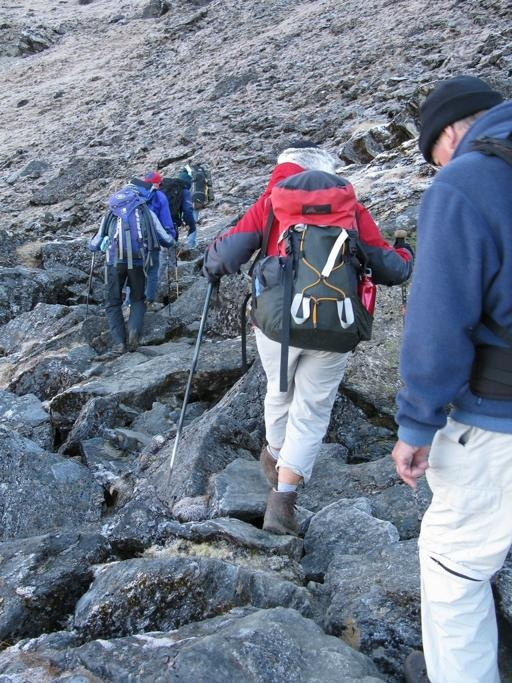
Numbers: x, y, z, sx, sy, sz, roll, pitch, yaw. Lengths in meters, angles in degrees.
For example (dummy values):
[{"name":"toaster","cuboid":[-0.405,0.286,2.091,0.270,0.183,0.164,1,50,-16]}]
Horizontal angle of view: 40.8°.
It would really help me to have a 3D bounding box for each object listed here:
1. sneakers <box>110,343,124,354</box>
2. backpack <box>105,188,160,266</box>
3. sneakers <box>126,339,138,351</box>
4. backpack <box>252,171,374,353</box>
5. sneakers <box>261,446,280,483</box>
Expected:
[{"name":"sneakers","cuboid":[-1.369,0.069,6.809,0.131,0.062,0.219,-3,18,-15]},{"name":"backpack","cuboid":[-1.282,-1.152,6.962,0.501,0.753,0.476,-6,22,-21]},{"name":"sneakers","cuboid":[-1.238,0.042,6.876,0.104,0.078,0.194,-1,18,-9]},{"name":"backpack","cuboid":[0.234,-0.296,2.743,0.495,0.696,0.397,2,20,-1]},{"name":"sneakers","cuboid":[0.051,0.575,3.279,0.074,0.081,0.184,-4,61,-7]}]
